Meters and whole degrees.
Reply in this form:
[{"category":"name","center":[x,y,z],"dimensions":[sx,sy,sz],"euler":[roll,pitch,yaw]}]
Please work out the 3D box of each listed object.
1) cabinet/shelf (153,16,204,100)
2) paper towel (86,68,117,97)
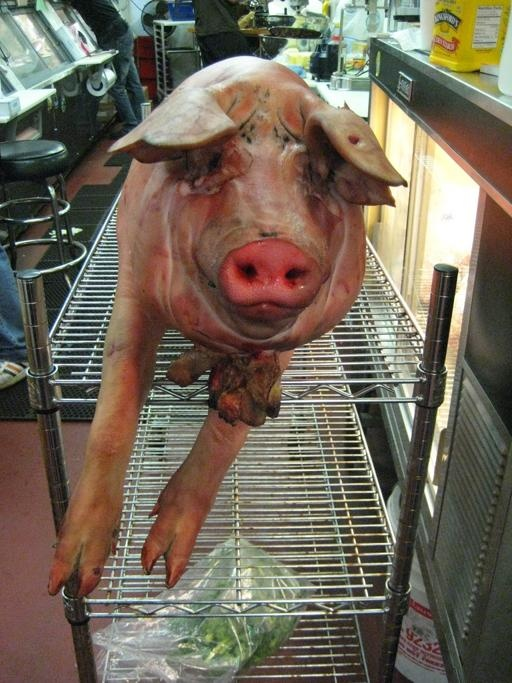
[{"category":"cabinet/shelf","center":[-1.020,-3.845,7.557],"dimensions":[0.660,0.904,0.657],"euler":[16,33,25]},{"category":"paper towel","center":[-1.528,-2.488,5.355],"dimensions":[0.364,0.246,0.188],"euler":[5,28,43]}]
